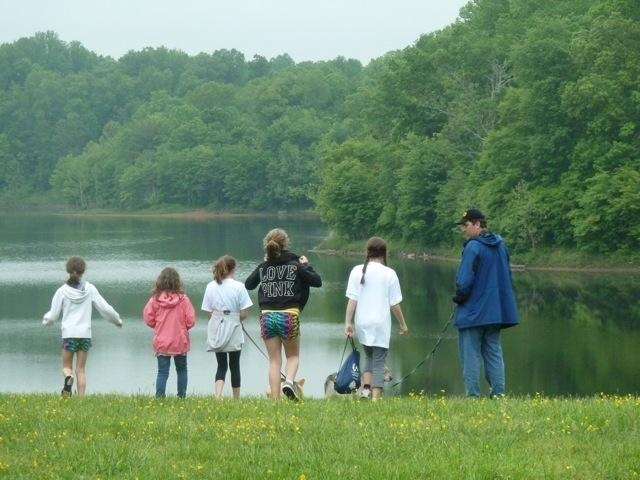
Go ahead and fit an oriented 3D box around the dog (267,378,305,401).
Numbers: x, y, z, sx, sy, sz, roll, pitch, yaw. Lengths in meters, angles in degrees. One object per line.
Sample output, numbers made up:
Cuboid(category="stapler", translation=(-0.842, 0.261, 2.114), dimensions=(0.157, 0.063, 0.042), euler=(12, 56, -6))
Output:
Cuboid(category="dog", translation=(-1.917, 9.049, 83.510), dimensions=(1.927, 1.521, 1.200), euler=(-1, -3, -21))
